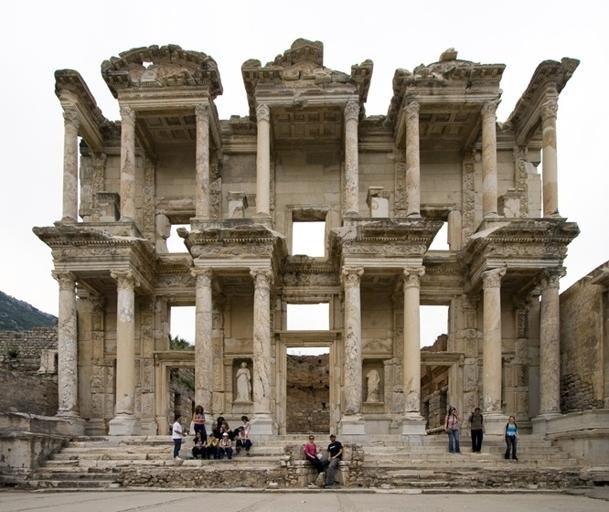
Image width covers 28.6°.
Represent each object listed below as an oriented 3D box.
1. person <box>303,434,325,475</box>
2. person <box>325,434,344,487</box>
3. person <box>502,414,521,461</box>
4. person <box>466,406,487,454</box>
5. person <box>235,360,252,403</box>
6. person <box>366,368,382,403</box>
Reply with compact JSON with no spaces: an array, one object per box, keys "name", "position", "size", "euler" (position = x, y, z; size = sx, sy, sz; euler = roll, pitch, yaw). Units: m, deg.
[{"name":"person","position":[0.255,5.692,34.394],"size":[0.670,1.152,0.418],"euler":[12,-21,-35]},{"name":"person","position":[0.876,5.942,34.147],"size":[0.537,1.306,0.543],"euler":[-1,-17,2]},{"name":"person","position":[6.314,5.623,36.560],"size":[0.399,1.390,0.961],"euler":[-3,-17,9]},{"name":"person","position":[5.394,5.474,37.277],"size":[0.373,1.320,1.116],"euler":[-2,-17,6]},{"name":"person","position":[-2.094,4.391,41.716],"size":[0.553,1.502,0.731],"euler":[1,-17,-3]},{"name":"person","position":[2.437,4.528,41.808],"size":[0.514,1.228,0.301],"euler":[-1,-17,2]}]
